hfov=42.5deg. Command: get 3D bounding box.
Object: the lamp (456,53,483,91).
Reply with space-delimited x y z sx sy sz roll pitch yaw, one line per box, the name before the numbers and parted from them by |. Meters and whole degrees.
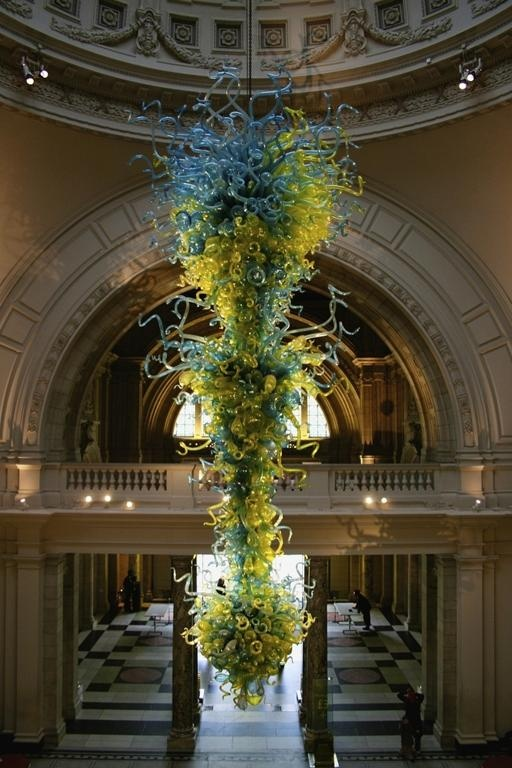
lamp | 2.907 -4.229 8.983 0.379 0.421 0.261 -9 -13 33
